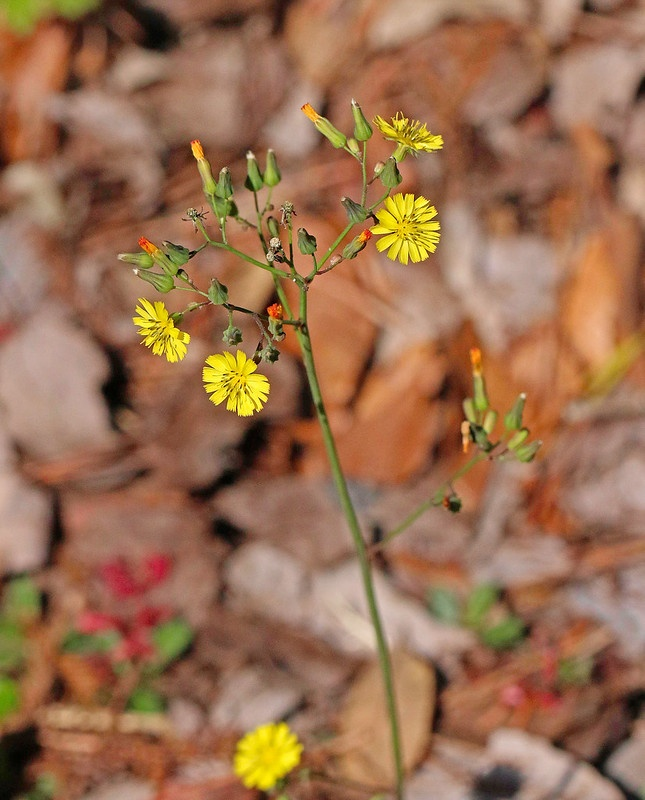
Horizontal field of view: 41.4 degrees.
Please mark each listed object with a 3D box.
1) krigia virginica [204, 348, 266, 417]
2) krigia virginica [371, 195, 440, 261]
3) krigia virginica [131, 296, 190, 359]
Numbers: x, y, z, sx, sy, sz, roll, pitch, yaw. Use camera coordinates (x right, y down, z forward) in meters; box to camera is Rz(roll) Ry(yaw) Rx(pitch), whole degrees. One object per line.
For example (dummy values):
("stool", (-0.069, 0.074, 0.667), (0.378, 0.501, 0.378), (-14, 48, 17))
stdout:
("krigia virginica", (-0.047, -0.014, 0.476), (0.014, 0.036, 0.033), (18, 75, 46))
("krigia virginica", (0.047, -0.098, 0.491), (0.038, 0.038, 0.045), (-1, 85, 1))
("krigia virginica", (-0.092, -0.041, 0.491), (0.031, 0.032, 0.012), (48, 51, -3))
